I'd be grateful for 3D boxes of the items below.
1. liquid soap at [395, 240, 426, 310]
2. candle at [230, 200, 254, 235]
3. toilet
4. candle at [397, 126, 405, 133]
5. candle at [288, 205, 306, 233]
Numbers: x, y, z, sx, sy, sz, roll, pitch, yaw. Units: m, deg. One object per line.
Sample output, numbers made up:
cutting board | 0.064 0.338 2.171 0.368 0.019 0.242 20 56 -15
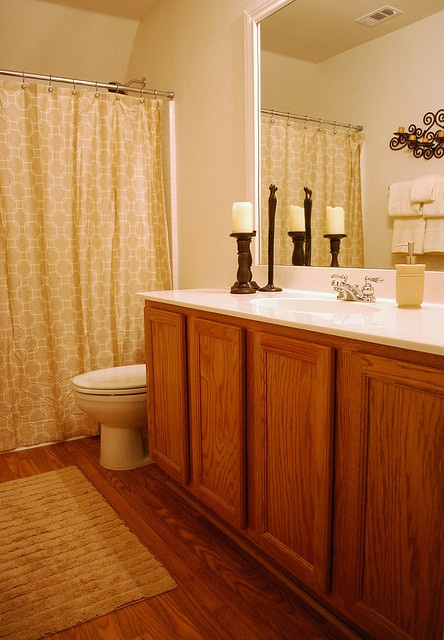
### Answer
liquid soap | 0.432 -0.104 1.067 0.066 0.155 0.066 -7 9 -38
candle | 0.074 -0.352 1.579 0.093 0.169 0.094 1 11 10
toilet | -0.441 0.375 1.942 0.332 0.403 0.380 0 2 -30
candle | 0.465 -0.497 1.208 0.014 0.018 0.015 -6 10 -34
candle | 0.259 -0.349 1.603 0.070 0.135 0.074 2 8 18
